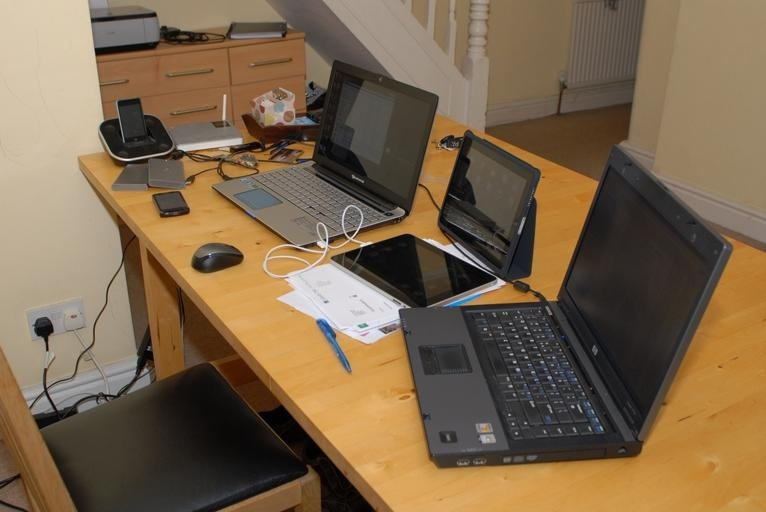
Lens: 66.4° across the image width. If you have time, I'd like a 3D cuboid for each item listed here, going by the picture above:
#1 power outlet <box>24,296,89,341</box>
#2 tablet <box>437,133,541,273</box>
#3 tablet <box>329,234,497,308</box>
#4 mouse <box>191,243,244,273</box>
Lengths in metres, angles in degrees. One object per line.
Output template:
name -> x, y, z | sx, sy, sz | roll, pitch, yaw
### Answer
power outlet -> -1.270, 0.251, 2.278 | 0.209, 0.025, 0.129 | -14, 81, -15
tablet -> 0.301, -0.135, 1.597 | 0.124, 0.312, 0.339 | -8, 30, -26
tablet -> 0.089, 0.036, 1.497 | 0.202, 0.011, 0.258 | -17, 32, -33
mouse -> -0.426, 0.003, 1.508 | 0.119, 0.040, 0.069 | -15, 34, -30
